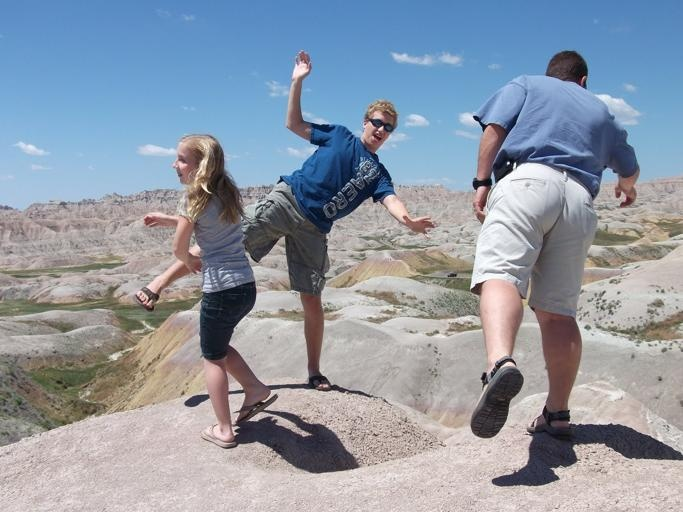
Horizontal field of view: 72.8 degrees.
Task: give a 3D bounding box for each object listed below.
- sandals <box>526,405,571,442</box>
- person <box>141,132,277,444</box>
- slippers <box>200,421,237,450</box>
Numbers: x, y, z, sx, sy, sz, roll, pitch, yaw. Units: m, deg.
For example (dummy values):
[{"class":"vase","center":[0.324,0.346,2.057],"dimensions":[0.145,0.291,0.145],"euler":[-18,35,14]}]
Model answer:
[{"class":"sandals","center":[1.604,1.296,3.583],"dimensions":[0.183,0.149,0.362],"euler":[2,-9,-12]},{"class":"person","center":[-1.139,0.321,4.254],"dimensions":[0.821,2.907,0.917],"euler":[-7,-8,-8]},{"class":"slippers","center":[-1.149,1.687,4.320],"dimensions":[0.322,0.092,0.172],"euler":[12,4,33]}]
